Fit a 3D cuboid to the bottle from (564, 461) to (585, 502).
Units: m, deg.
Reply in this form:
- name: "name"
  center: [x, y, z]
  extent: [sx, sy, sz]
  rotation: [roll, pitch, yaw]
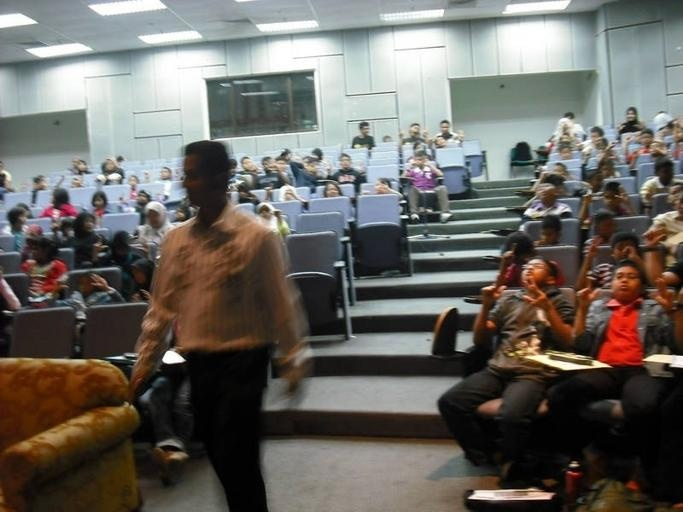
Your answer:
- name: "bottle"
  center: [1.256, 1.176, 3.000]
  extent: [0.098, 0.161, 0.260]
  rotation: [0, 8, 22]

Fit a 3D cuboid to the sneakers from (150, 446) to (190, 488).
- name: "sneakers"
  center: [-1.037, 1.246, 3.354]
  extent: [0.149, 0.252, 0.121]
  rotation: [9, 7, -5]
